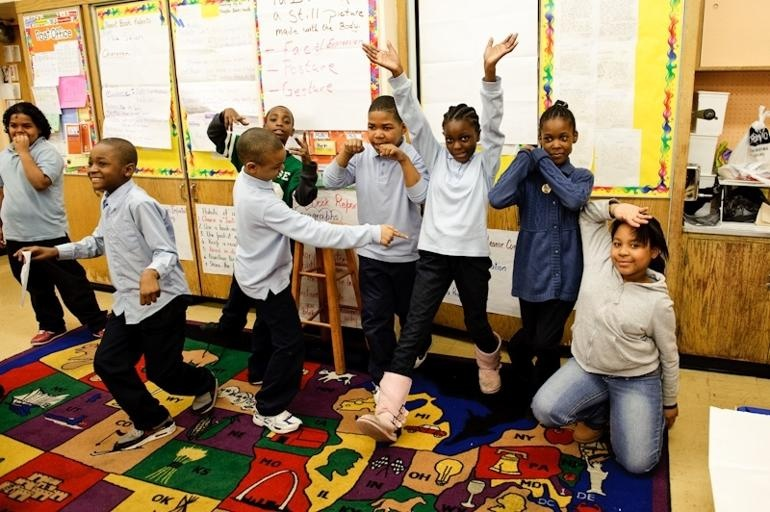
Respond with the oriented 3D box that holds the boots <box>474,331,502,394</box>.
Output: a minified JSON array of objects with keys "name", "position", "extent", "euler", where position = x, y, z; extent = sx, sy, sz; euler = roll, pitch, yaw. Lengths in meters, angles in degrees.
[{"name":"boots","position":[0.662,0.660,3.184],"extent":[0.188,0.351,0.352],"euler":[-2,56,24]}]

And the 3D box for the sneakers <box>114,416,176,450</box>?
[{"name":"sneakers","position":[-1.403,1.015,2.953],"extent":[0.358,0.137,0.123],"euler":[-4,3,-25]}]

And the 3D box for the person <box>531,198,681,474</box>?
[{"name":"person","position":[1.222,0.398,2.666],"extent":[0.671,1.340,0.536],"euler":[9,21,30]}]

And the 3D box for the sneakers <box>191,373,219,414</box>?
[{"name":"sneakers","position":[-1.091,0.834,3.140],"extent":[0.123,0.116,0.261],"euler":[3,59,11]}]

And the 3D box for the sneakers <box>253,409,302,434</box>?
[{"name":"sneakers","position":[-0.644,0.948,2.963],"extent":[0.271,0.112,0.117],"euler":[3,9,14]}]

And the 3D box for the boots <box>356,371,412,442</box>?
[{"name":"boots","position":[-0.007,0.842,2.780],"extent":[0.203,0.366,0.405],"euler":[-2,-20,22]}]
